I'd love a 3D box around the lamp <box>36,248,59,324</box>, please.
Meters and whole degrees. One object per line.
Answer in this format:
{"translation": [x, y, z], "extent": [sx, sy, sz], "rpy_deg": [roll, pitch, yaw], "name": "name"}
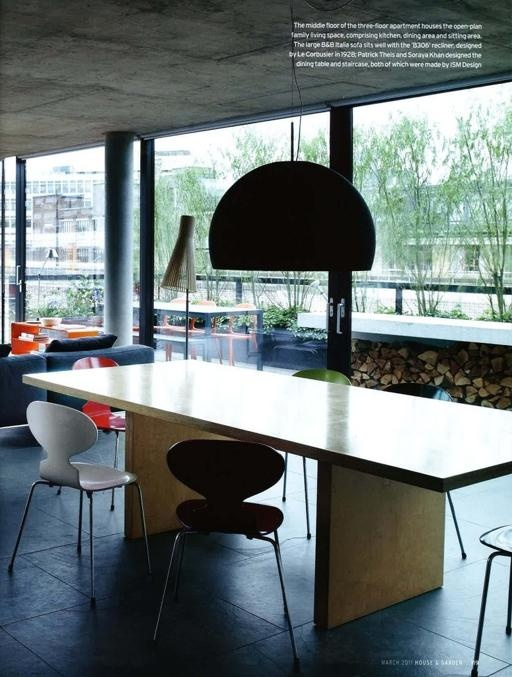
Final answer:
{"translation": [-3.114, -0.767, 8.609], "extent": [0.295, 1.241, 1.226], "rpy_deg": [2, -2, -21], "name": "lamp"}
